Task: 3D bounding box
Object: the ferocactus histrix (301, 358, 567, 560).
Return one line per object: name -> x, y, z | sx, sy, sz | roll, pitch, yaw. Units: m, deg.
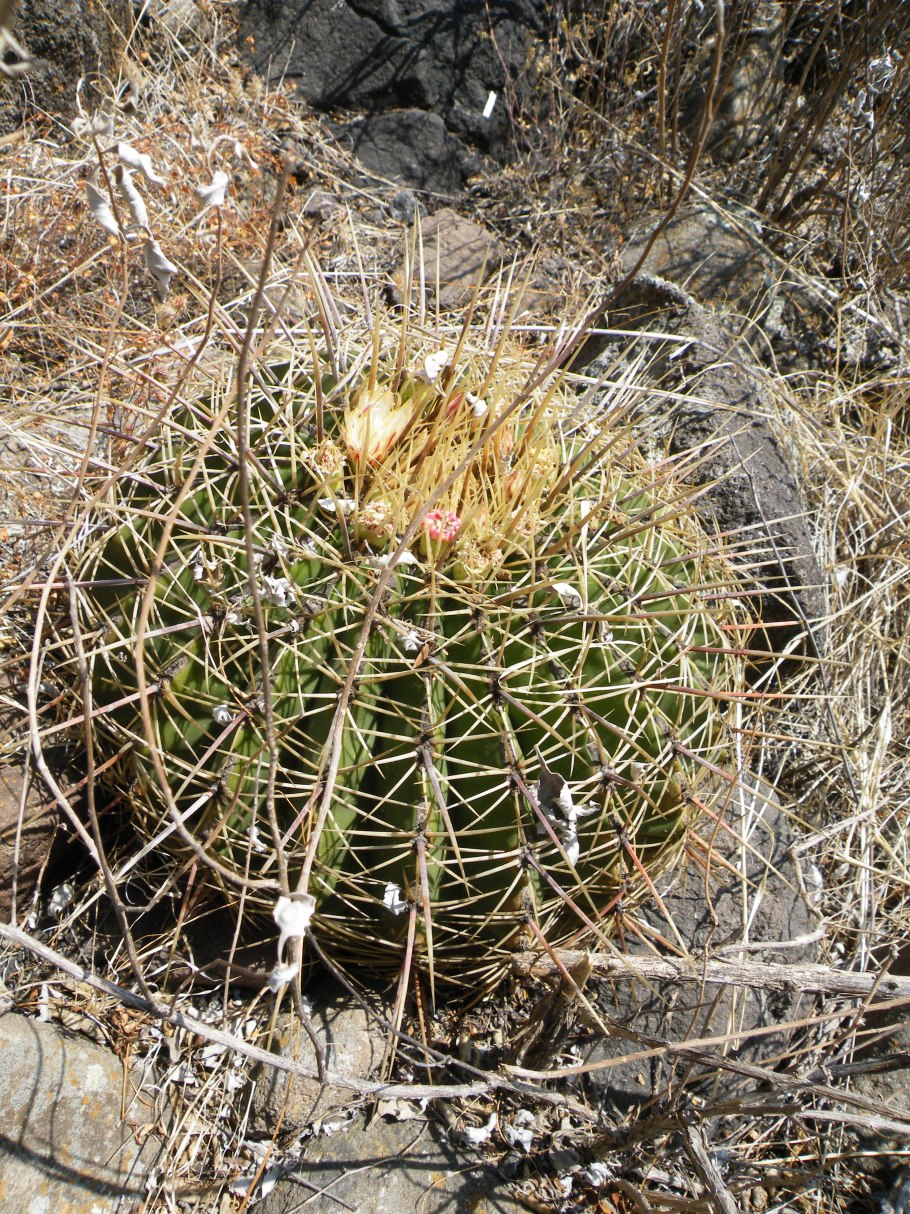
ferocactus histrix -> -0.013, -0.201, 1.719 | 0.321, 0.210, 0.308 | 14, 52, 8
